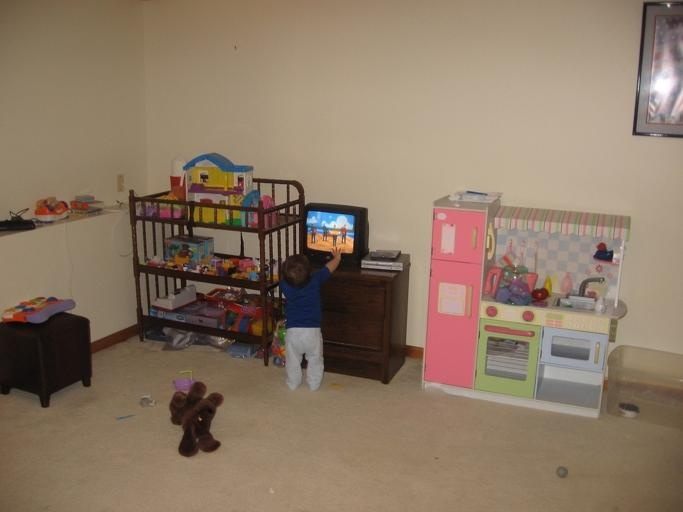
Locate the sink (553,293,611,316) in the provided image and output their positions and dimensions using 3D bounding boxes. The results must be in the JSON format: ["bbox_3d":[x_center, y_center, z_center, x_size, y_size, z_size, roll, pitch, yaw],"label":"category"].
[{"bbox_3d":[1.966,0.363,4.625,0.316,0.158,0.176,6,9,30],"label":"sink"}]

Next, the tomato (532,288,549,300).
[{"bbox_3d":[1.646,0.320,4.703,0.097,0.094,0.097,-6,7,-38],"label":"tomato"}]

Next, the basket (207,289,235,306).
[{"bbox_3d":[-1.227,0.411,5.761,0.223,0.078,0.168,5,19,16],"label":"basket"}]

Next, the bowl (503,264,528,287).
[{"bbox_3d":[1.493,0.165,4.851,0.165,0.165,0.168,0,10,0],"label":"bowl"}]

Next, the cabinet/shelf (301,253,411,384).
[{"bbox_3d":[0.250,0.466,5.422,0.970,1.402,0.925,4,14,19],"label":"cabinet/shelf"}]

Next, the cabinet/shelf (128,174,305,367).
[{"bbox_3d":[-1.182,0.168,5.447,1.455,1.538,0.829,8,20,20],"label":"cabinet/shelf"}]

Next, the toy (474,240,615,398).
[{"bbox_3d":[1.702,0.551,4.738,1.183,0.930,0.466,5,8,15],"label":"toy"}]

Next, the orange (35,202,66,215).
[{"bbox_3d":[-2.600,-0.420,5.074,0.133,0.075,0.184,3,7,21],"label":"orange"}]

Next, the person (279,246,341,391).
[{"bbox_3d":[-0.303,0.562,4.905,0.469,1.168,0.309,1,12,-8],"label":"person"}]

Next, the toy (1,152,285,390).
[{"bbox_3d":[-1.856,0.165,5.264,1.862,1.500,0.688,8,21,21],"label":"toy"}]

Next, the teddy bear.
[{"bbox_3d":[-1.079,1.190,4.177,0.362,0.493,0.287,-1,12,-18],"label":"teddy bear"}]

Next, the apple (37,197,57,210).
[{"bbox_3d":[-2.645,-0.472,5.060,0.098,0.057,0.155,-2,12,-36],"label":"apple"}]
